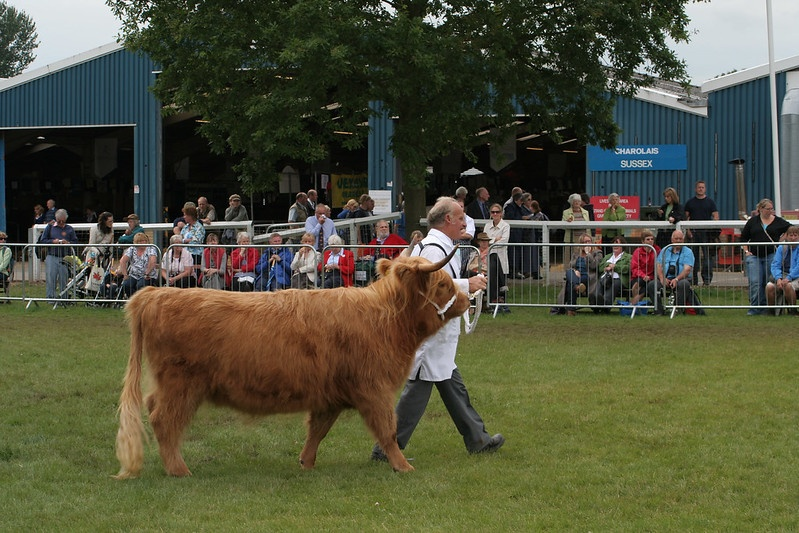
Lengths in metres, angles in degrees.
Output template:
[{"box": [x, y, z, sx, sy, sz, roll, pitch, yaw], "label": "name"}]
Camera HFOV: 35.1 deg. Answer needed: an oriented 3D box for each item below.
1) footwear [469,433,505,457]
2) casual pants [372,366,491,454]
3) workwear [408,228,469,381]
[{"box": [1.479, 3.117, 21.929, 0.691, 0.313, 0.248, -26, 17, -20], "label": "footwear"}, {"box": [0.485, 2.582, 21.888, 1.297, 1.320, 0.515, -3, 16, -4], "label": "casual pants"}, {"box": [0.615, 0.626, 21.834, 1.050, 2.895, 1.303, 2, 24, -6], "label": "workwear"}]
